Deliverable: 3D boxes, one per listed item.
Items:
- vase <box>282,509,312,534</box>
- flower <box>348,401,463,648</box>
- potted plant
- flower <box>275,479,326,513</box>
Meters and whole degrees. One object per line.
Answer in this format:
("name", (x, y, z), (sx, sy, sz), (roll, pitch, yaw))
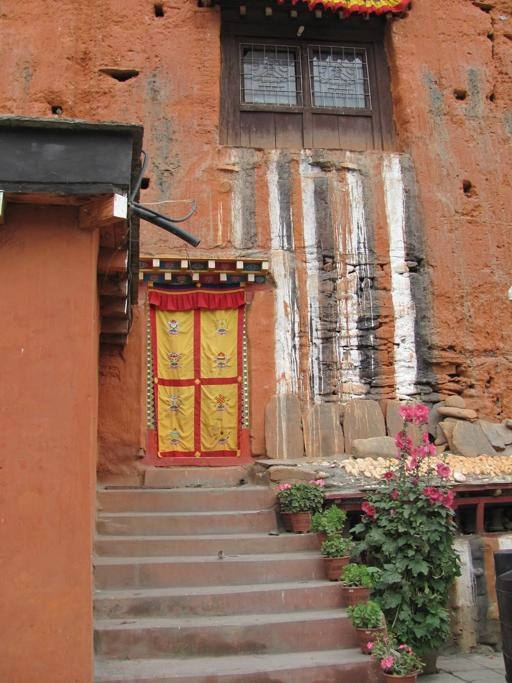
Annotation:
("vase", (0.377, 1.762, 7.235), (0.156, 0.201, 0.335), (7, -14, -42))
("flower", (1.375, 1.717, 6.751), (0.880, 2.191, 1.591), (-5, -11, 12))
("potted plant", (0.730, 1.971, 6.265), (0.313, 0.401, 1.154), (-3, 19, -13))
("flower", (0.452, 1.542, 7.321), (0.452, 0.297, 0.301), (-3, -10, 4))
